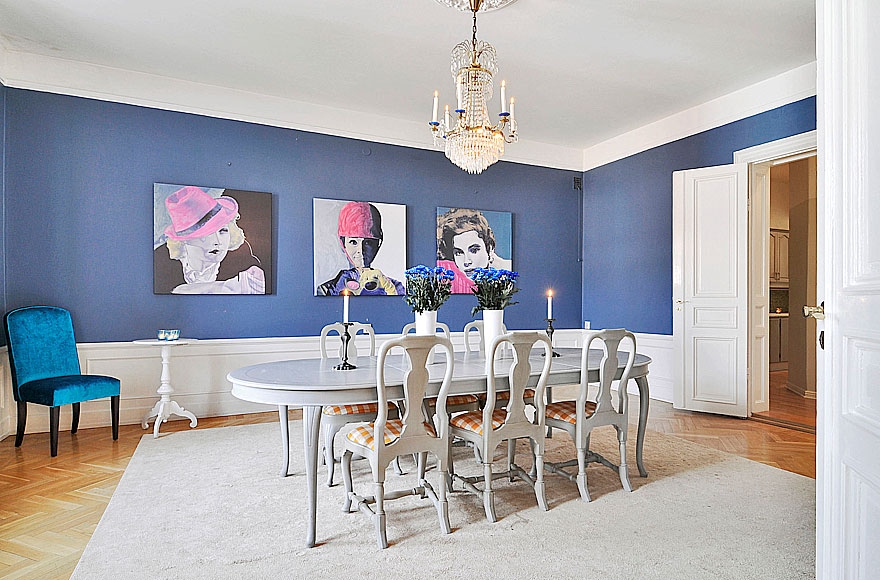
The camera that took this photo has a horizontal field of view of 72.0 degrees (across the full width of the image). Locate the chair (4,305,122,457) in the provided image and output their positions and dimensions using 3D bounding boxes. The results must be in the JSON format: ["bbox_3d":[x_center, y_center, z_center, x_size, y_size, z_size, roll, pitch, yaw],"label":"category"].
[{"bbox_3d":[-3.803,0.838,6.021,0.854,1.279,0.787,8,14,34],"label":"chair"}]

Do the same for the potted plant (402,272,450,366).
[{"bbox_3d":[-0.091,0.110,5.222,0.473,0.757,0.470,0,-7,4],"label":"potted plant"}]
